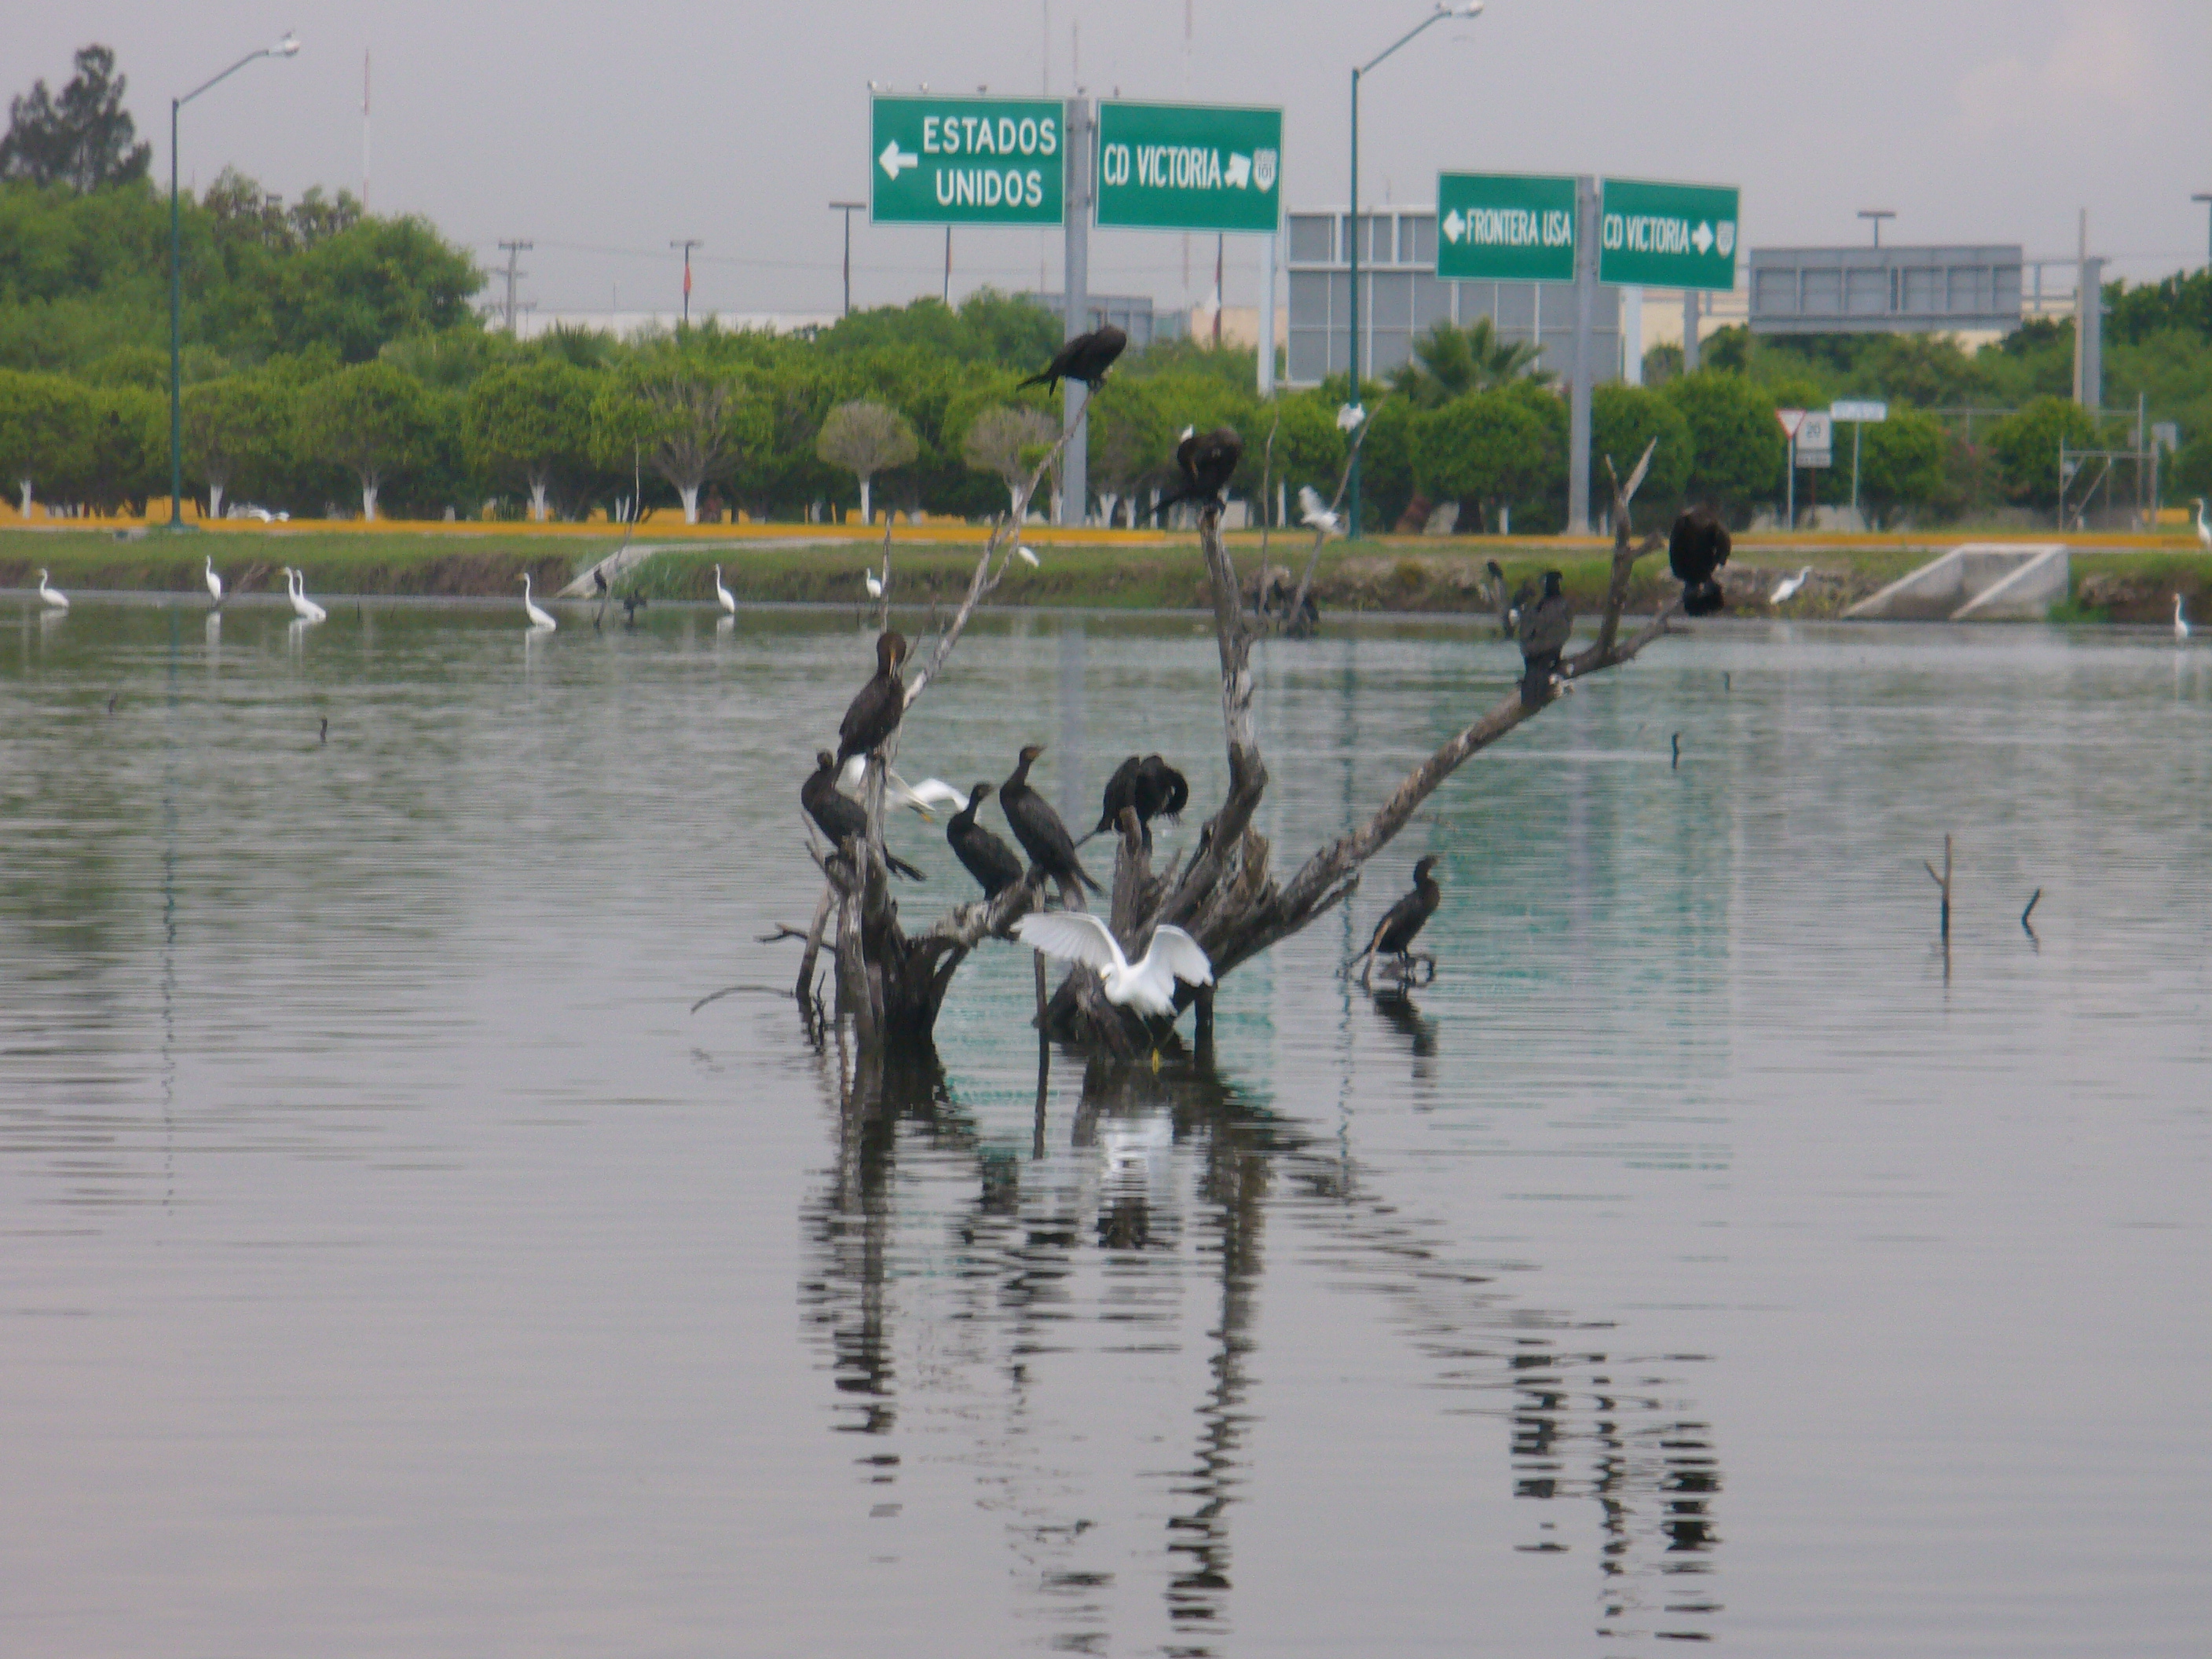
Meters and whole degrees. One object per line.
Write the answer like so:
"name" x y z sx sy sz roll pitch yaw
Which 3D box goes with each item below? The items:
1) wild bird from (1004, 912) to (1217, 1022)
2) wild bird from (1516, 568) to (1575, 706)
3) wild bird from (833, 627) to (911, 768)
"wild bird" 0.048 1.111 50.264 1.416 0.576 0.993 6 5 -42
"wild bird" 3.829 -1.720 51.231 0.615 1.224 0.425 5 2 -2
"wild bird" -2.064 -1.145 51.164 0.603 1.243 1.779 0 6 -3
